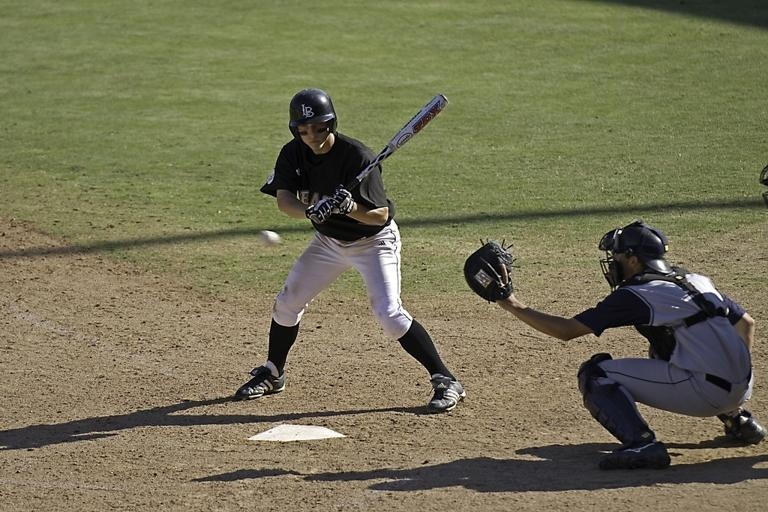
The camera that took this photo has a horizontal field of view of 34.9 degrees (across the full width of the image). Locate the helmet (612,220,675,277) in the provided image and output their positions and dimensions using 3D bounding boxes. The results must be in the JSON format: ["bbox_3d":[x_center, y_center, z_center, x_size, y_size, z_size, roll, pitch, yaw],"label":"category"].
[{"bbox_3d":[2.122,-0.070,9.842,0.609,0.288,0.430,14,9,20],"label":"helmet"}]

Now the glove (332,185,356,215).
[{"bbox_3d":[-0.326,-0.450,10.016,0.196,0.218,0.191,9,24,-8],"label":"glove"}]

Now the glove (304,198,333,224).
[{"bbox_3d":[-0.539,-0.367,10.058,0.217,0.294,0.222,11,25,-5],"label":"glove"}]

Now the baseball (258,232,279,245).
[{"bbox_3d":[-1.005,-0.153,10.753,0.179,0.080,0.178,18,2,2],"label":"baseball"}]

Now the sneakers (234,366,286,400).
[{"bbox_3d":[-1.087,1.107,10.561,0.663,0.242,0.166,-8,48,-24],"label":"sneakers"}]

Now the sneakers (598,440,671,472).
[{"bbox_3d":[1.868,1.576,9.490,0.723,0.154,0.215,-1,28,4],"label":"sneakers"}]

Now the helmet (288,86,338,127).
[{"bbox_3d":[-0.589,-1.220,10.162,0.403,0.338,0.331,9,23,-5],"label":"helmet"}]
